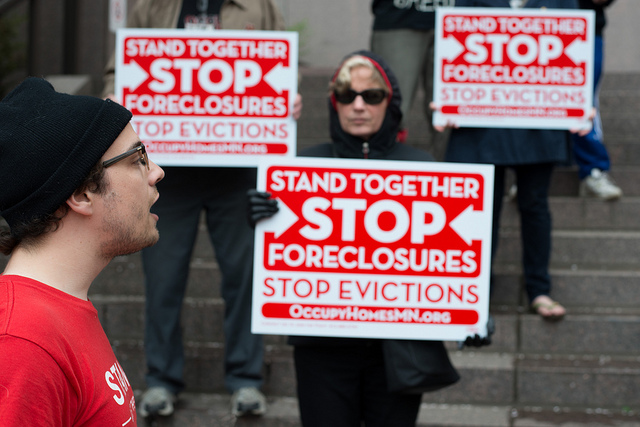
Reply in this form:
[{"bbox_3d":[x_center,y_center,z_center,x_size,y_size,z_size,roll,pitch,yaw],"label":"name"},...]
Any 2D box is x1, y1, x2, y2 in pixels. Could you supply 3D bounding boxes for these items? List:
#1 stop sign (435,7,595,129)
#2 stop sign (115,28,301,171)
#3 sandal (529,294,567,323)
[{"bbox_3d":[1.235,-0.942,7.690,0.790,0.557,0.008,1,4,0],"label":"stop sign"},{"bbox_3d":[-0.703,-0.739,7.692,0.981,0.668,0.016,1,7,8],"label":"stop sign"},{"bbox_3d":[1.421,0.593,7.530,0.141,0.123,0.347,-13,4,-2],"label":"sandal"}]
